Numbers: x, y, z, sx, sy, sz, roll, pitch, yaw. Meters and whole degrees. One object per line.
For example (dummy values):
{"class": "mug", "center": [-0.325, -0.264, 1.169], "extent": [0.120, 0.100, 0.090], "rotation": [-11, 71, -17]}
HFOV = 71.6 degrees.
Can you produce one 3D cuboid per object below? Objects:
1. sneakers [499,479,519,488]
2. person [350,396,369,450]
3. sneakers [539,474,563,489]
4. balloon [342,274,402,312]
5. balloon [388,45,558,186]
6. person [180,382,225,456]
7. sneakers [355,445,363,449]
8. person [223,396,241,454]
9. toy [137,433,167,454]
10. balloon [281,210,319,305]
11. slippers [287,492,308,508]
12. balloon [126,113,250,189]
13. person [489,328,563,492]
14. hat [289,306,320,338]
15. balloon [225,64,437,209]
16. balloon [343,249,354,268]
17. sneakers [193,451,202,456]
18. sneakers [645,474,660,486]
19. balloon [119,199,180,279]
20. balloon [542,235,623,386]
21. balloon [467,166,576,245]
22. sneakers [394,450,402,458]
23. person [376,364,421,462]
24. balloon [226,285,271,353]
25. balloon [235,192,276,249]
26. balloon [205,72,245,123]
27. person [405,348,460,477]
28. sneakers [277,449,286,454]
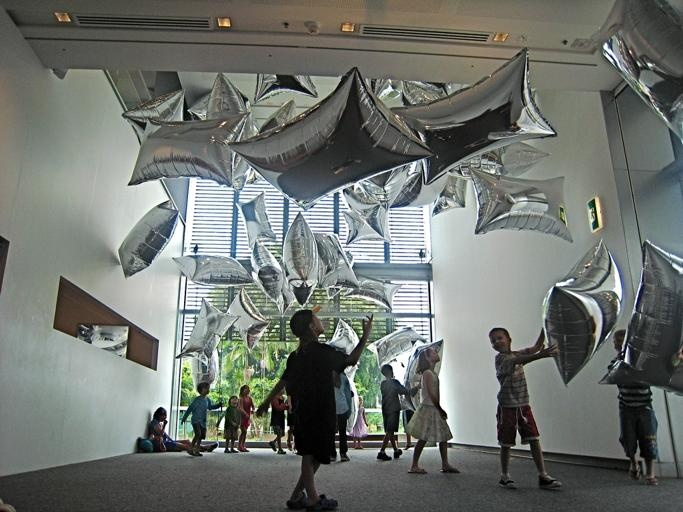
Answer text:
{"class": "sneakers", "center": [1.460, 2.035, 4.170], "extent": [0.058, 0.115, 0.161], "rotation": [7, -32, -15]}
{"class": "person", "center": [0.353, 3.467, 9.812], "extent": [0.367, 0.985, 0.264], "rotation": [2, 2, 23]}
{"class": "sneakers", "center": [1.787, 1.998, 4.137], "extent": [0.091, 0.110, 0.206], "rotation": [15, -31, -39]}
{"class": "balloon", "center": [0.723, 0.695, 9.203], "extent": [0.888, 0.416, 1.287], "rotation": [-32, 25, -36]}
{"class": "balloon", "center": [1.301, -1.015, 4.498], "extent": [1.229, 0.474, 1.718], "rotation": [-8, 5, 6]}
{"class": "person", "center": [-2.498, 2.960, 8.607], "extent": [0.584, 1.208, 2.009], "rotation": [6, -20, -12]}
{"class": "sneakers", "center": [0.366, 4.053, 9.917], "extent": [0.145, 0.113, 0.152], "rotation": [2, -6, -5]}
{"class": "person", "center": [-1.928, 3.024, 8.427], "extent": [0.300, 0.953, 0.888], "rotation": [5, -19, -11]}
{"class": "toy", "center": [-3.459, 3.509, 8.700], "extent": [0.535, 0.226, 0.189], "rotation": [5, -19, -9]}
{"class": "balloon", "center": [-0.507, 0.034, 6.375], "extent": [0.515, 1.221, 0.412], "rotation": [9, -20, -20]}
{"class": "slippers", "center": [-0.303, 1.720, 3.282], "extent": [0.132, 0.099, 0.148], "rotation": [4, -20, -8]}
{"class": "balloon", "center": [-1.626, -1.147, 4.980], "extent": [1.284, 0.947, 0.441], "rotation": [-2, -22, 9]}
{"class": "person", "center": [1.659, 1.362, 4.322], "extent": [0.543, 1.417, 1.256], "rotation": [-5, -20, 17]}
{"class": "hat", "center": [-0.260, 0.494, 3.510], "extent": [0.223, 0.254, 0.218], "rotation": [6, -20, -12]}
{"class": "balloon", "center": [-0.052, -0.842, 3.571], "extent": [1.267, 0.437, 0.955], "rotation": [-29, -50, 29]}
{"class": "balloon", "center": [0.094, 0.025, 7.973], "extent": [0.098, 0.311, 0.216], "rotation": [-5, -19, 0]}
{"class": "sneakers", "center": [-2.295, 3.216, 7.625], "extent": [0.133, 0.068, 0.424], "rotation": [7, -21, -15]}
{"class": "sneakers", "center": [2.752, 2.023, 4.229], "extent": [0.060, 0.049, 0.125], "rotation": [1, -4, -4]}
{"class": "balloon", "center": [-2.906, -0.210, 7.395], "extent": [1.217, 0.727, 0.361], "rotation": [-51, -26, 15]}
{"class": "balloon", "center": [2.215, 0.465, 4.319], "extent": [0.546, 0.834, 1.445], "rotation": [-1, 16, 42]}
{"class": "balloon", "center": [1.975, -0.518, 5.153], "extent": [1.045, 0.763, 0.431], "rotation": [6, -11, -8]}
{"class": "sneakers", "center": [0.852, 3.034, 7.200], "extent": [0.089, 0.135, 0.299], "rotation": [-1, -8, 5]}
{"class": "person", "center": [0.796, 2.328, 7.008], "extent": [0.619, 1.350, 0.467], "rotation": [5, -19, -8]}
{"class": "balloon", "center": [-1.725, 1.193, 8.827], "extent": [0.350, 1.250, 0.924], "rotation": [2, -49, -46]}
{"class": "balloon", "center": [-1.385, -0.619, 7.768], "extent": [0.559, 0.936, 0.231], "rotation": [-19, -11, 14]}
{"class": "balloon", "center": [-1.283, -1.737, 5.280], "extent": [0.497, 0.668, 0.244], "rotation": [-5, -3, 2]}
{"class": "person", "center": [1.003, 1.707, 5.264], "extent": [0.535, 1.328, 0.437], "rotation": [4, -19, -3]}
{"class": "sneakers", "center": [-1.026, 3.452, 8.225], "extent": [0.165, 0.120, 0.098], "rotation": [4, -20, -3]}
